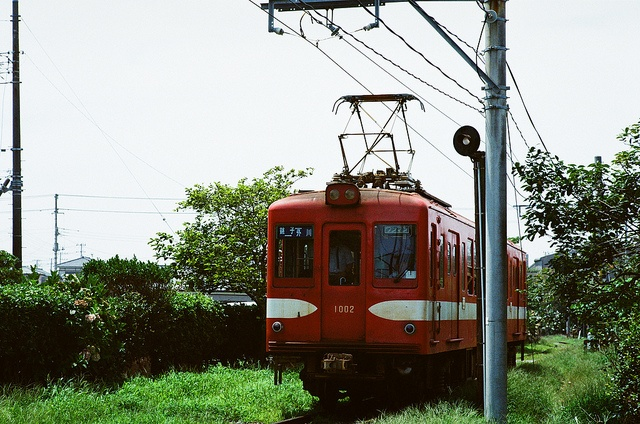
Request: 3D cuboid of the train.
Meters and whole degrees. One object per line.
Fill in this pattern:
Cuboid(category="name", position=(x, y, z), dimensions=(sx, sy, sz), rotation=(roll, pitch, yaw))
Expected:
Cuboid(category="train", position=(1.195, 1.784, 20.529), dimensions=(4.851, 4.542, 2.819), rotation=(4, -13, -14))
